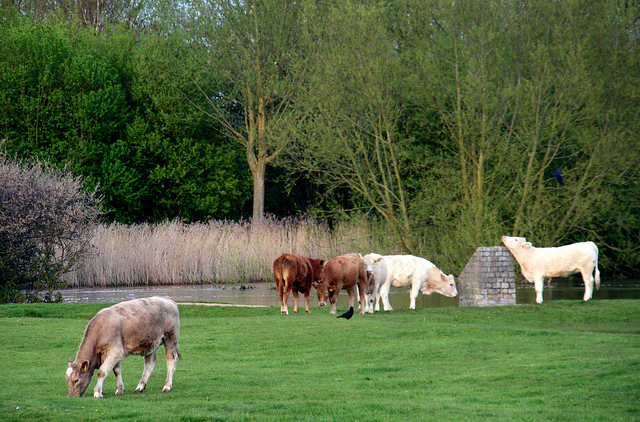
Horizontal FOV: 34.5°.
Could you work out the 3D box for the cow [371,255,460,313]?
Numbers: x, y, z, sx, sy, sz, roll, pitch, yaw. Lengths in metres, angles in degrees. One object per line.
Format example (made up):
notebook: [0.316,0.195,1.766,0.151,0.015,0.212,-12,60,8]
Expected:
cow: [3.949,2.479,37.836,4.340,3.060,1.408,2,-4,-6]

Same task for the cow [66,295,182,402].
cow: [-5.316,3.848,31.034,4.823,3.851,1.498,-2,-5,-26]

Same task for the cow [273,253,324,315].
cow: [-0.698,2.536,36.638,0.773,2.221,2.879,-3,-6,28]

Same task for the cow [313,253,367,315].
cow: [0.796,2.565,35.626,1.907,1.978,0.660,-6,14,-21]

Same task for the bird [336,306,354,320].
bird: [0.860,3.423,34.527,0.477,0.454,0.639,-1,14,-3]

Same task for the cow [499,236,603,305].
cow: [8.445,2.130,37.701,3.502,2.537,1.190,0,1,9]

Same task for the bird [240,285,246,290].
bird: [-3.273,3.177,43.441,0.241,0.141,0.916,-2,15,-5]

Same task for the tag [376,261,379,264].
tag: [2.011,1.784,36.483,0.084,0.090,0.023,4,10,0]
